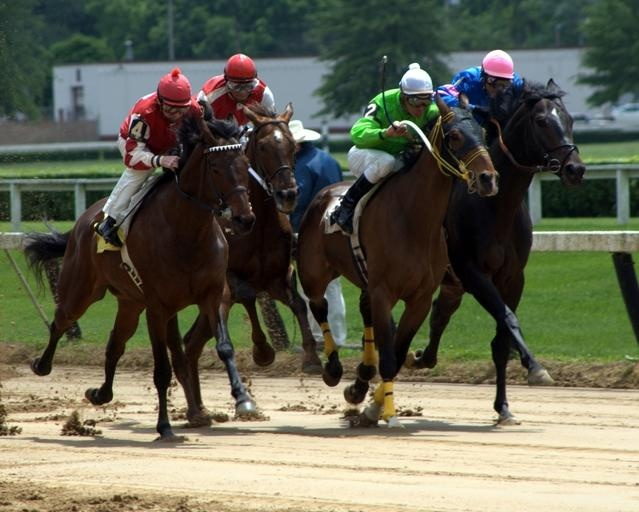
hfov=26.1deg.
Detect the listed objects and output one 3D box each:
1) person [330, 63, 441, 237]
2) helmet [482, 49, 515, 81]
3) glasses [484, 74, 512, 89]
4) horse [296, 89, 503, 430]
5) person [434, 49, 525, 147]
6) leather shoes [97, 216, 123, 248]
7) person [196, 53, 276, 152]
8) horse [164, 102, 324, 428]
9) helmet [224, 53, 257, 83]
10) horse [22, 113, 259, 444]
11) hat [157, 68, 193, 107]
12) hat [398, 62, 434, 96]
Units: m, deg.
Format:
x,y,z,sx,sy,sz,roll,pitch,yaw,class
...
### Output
x,y,z,sx,sy,sz,roll,pitch,yaw,class
0.578,-0.841,10.976,0.644,1.457,1.032,15,-4,-32,person
1.456,-1.613,11.306,0.207,0.140,0.263,9,17,-23,helmet
1.480,-1.462,11.286,0.148,0.080,0.119,1,22,5,glasses
0.470,0.130,11.199,0.842,2.558,2.920,4,-1,-24,horse
1.409,-1.417,11.769,0.915,0.568,1.253,-4,3,-10,person
-1.681,-0.235,10.935,0.121,0.151,0.360,-21,45,-19,leather shoes
-0.787,-1.357,11.689,0.737,0.644,0.987,-11,8,-28,person
-0.633,0.217,11.964,0.771,2.419,3.329,-4,-15,-19,horse
-0.664,-1.578,11.391,0.263,0.235,0.336,-3,6,-4,helmet
-1.551,0.147,11.421,0.952,2.562,3.981,-2,3,-35,horse
-1.128,-1.323,10.637,0.267,0.303,0.298,-4,6,-7,hat
0.754,-1.398,10.781,0.192,0.182,0.290,-1,11,-7,hat
